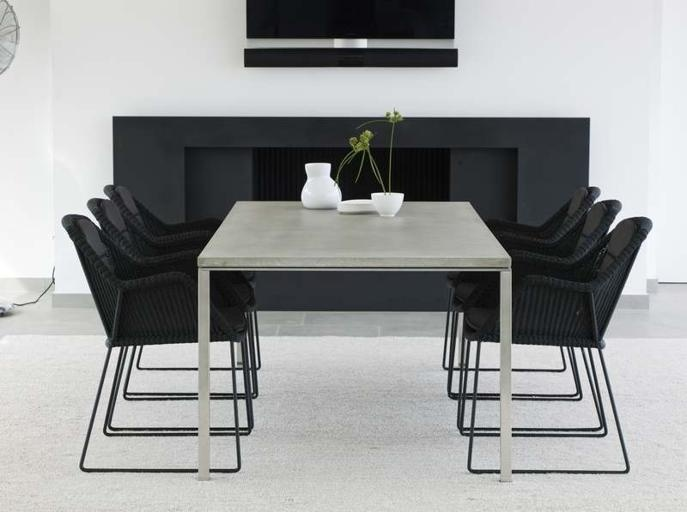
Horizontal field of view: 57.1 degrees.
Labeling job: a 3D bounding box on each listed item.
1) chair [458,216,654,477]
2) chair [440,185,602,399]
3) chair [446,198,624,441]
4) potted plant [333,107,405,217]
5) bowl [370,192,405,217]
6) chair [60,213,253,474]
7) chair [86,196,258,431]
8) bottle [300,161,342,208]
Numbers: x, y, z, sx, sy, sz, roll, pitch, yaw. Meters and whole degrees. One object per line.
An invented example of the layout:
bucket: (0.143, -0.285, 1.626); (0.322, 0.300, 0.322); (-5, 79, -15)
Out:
chair: (1.007, 0.257, 3.013); (0.707, 0.888, 0.751); (-16, 33, 1)
chair: (1.157, 0.181, 3.912); (1.078, 1.600, 1.027); (0, 1, 1)
chair: (0.974, 0.388, 3.246); (0.724, 1.002, 0.739); (3, -2, 10)
potted plant: (0.140, -0.497, 3.454); (0.344, 0.584, 0.343); (-2, 5, 17)
bowl: (0.237, -0.283, 3.417); (0.134, 0.094, 0.140); (-1, 5, 0)
chair: (-0.759, 0.331, 3.067); (0.836, 1.177, 0.829); (-1, 11, 4)
chair: (-0.991, 0.218, 3.572); (1.064, 1.527, 1.068); (0, 5, -1)
bottle: (-0.130, -0.398, 3.610); (0.225, 0.253, 0.241); (-1, 1, -2)
